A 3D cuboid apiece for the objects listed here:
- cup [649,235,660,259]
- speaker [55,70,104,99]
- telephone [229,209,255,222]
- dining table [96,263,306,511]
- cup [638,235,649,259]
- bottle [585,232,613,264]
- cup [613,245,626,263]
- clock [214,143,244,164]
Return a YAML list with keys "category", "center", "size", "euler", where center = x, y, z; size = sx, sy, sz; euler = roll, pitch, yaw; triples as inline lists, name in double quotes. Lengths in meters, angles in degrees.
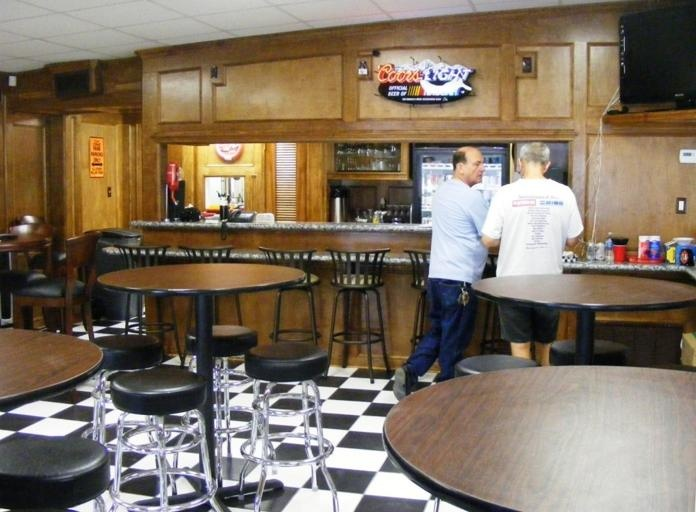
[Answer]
- category: "cup"
  center: [2.587, -0.073, 5.126]
  size: [0.091, 0.186, 0.160]
  euler: [7, 12, 28]
- category: "speaker"
  center: [-3.281, -2.025, 7.415]
  size: [0.653, 0.330, 0.393]
  euler: [3, 6, 2]
- category: "telephone"
  center: [-1.103, -0.413, 6.323]
  size: [0.264, 0.098, 0.323]
  euler: [0, 11, -6]
- category: "dining table"
  center: [-0.624, 0.688, 3.677]
  size: [1.378, 1.340, 1.302]
  euler: [0, 5, 4]
- category: "cup"
  center: [2.486, -0.069, 5.116]
  size: [0.076, 0.182, 0.113]
  euler: [5, 12, 21]
- category: "bottle"
  center: [2.092, -0.045, 5.185]
  size: [0.243, 0.225, 0.235]
  euler: [0, 1, 8]
- category: "cup"
  center: [2.260, -0.014, 5.076]
  size: [0.152, 0.140, 0.138]
  euler: [-1, 5, 2]
- category: "clock"
  center: [-1.918, -1.628, 9.745]
  size: [0.574, 0.303, 0.123]
  euler: [8, 13, 33]
